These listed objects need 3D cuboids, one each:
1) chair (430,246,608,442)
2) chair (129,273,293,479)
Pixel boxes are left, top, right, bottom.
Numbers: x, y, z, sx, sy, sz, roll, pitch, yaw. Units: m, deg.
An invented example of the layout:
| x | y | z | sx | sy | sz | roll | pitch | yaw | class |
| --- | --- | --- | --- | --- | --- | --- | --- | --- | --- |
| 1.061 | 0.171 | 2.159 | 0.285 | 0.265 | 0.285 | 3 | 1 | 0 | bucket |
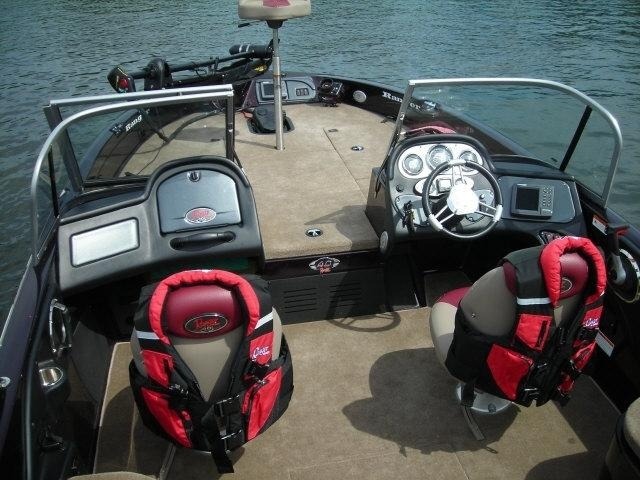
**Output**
| x | y | z | sx | sy | sz | roll | pitch | yaw | class |
| --- | --- | --- | --- | --- | --- | --- | --- | --- | --- |
| 1.081 | 0.528 | 2.899 | 0.994 | 1.128 | 0.951 | 8 | 15 | 4 | chair |
| -0.540 | 0.635 | 2.444 | 0.844 | 0.957 | 0.685 | -12 | 36 | -17 | chair |
